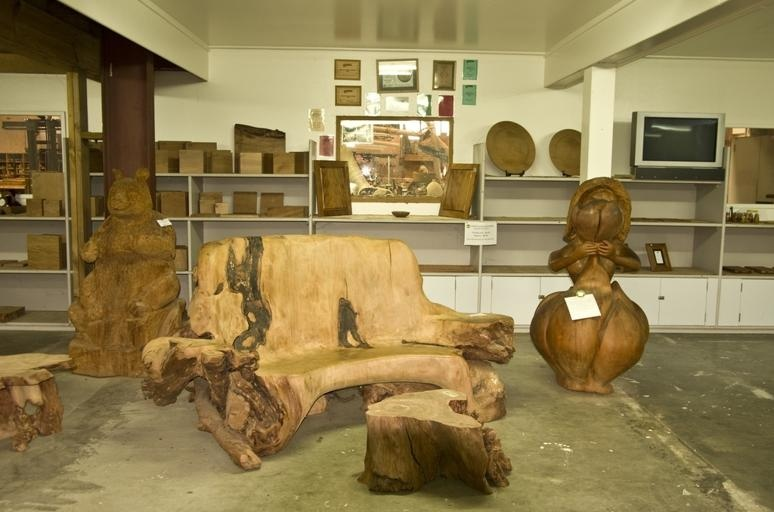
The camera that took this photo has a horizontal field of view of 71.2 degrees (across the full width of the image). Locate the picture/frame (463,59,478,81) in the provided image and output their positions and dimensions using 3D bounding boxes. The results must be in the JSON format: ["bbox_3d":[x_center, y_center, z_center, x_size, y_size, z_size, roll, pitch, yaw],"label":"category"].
[{"bbox_3d":[1.071,-2.415,6.984,0.254,0.333,0.033,1,2,-2],"label":"picture/frame"}]

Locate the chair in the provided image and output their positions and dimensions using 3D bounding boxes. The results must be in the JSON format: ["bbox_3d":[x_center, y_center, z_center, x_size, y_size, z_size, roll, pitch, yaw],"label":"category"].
[{"bbox_3d":[-0.543,0.666,4.433,2.766,1.623,1.012,-2,7,-15],"label":"chair"}]

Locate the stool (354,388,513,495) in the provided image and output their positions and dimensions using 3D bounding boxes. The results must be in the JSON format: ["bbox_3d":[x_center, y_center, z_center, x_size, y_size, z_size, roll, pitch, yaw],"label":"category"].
[{"bbox_3d":[0.314,1.286,3.738,0.798,0.372,0.648,-4,8,-12],"label":"stool"}]

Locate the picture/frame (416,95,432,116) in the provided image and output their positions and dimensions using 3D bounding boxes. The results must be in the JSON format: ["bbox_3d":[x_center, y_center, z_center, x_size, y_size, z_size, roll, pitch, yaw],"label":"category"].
[{"bbox_3d":[0.483,-1.963,7.020,0.276,0.363,0.037,0,3,1],"label":"picture/frame"}]

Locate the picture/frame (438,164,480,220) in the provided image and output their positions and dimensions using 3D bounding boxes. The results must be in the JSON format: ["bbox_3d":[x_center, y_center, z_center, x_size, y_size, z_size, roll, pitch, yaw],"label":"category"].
[{"bbox_3d":[0.912,-0.784,6.711,0.088,0.874,0.661,18,-3,-41],"label":"picture/frame"}]

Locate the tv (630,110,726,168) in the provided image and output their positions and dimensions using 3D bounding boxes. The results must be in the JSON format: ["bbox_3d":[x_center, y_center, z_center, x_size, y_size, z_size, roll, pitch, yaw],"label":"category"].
[{"bbox_3d":[3.587,-1.409,6.775,1.251,0.806,0.661,1,5,1],"label":"tv"}]

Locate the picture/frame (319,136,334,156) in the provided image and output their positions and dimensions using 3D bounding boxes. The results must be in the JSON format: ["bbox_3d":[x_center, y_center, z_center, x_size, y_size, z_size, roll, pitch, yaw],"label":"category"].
[{"bbox_3d":[-0.792,-1.438,7.048,0.262,0.336,0.034,1,3,-3],"label":"picture/frame"}]

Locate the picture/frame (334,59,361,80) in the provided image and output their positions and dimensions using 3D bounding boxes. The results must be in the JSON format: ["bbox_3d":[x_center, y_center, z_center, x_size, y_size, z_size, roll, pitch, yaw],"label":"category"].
[{"bbox_3d":[-0.518,-2.411,6.987,0.278,0.221,0.023,1,14,-6],"label":"picture/frame"}]

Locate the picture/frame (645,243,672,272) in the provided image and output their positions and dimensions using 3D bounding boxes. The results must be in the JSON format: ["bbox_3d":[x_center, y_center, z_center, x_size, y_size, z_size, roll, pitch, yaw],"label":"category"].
[{"bbox_3d":[3.452,0.028,6.915,0.399,0.498,0.039,3,-29,-7],"label":"picture/frame"}]

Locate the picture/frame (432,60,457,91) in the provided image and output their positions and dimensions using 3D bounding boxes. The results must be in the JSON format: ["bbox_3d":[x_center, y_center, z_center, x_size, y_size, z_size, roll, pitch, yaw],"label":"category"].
[{"bbox_3d":[0.737,-2.352,6.993,0.389,0.421,0.043,1,2,-1],"label":"picture/frame"}]

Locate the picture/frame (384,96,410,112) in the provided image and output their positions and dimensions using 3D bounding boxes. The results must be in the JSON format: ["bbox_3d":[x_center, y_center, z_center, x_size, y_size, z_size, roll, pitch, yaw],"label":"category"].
[{"bbox_3d":[0.137,-1.964,7.023,0.314,0.215,0.039,-1,7,-5],"label":"picture/frame"}]

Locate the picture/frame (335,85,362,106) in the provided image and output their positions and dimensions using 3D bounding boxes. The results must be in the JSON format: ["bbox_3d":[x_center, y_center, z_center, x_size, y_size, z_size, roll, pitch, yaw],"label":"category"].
[{"bbox_3d":[-0.506,-2.081,6.997,0.260,0.209,0.019,-1,5,-6],"label":"picture/frame"}]

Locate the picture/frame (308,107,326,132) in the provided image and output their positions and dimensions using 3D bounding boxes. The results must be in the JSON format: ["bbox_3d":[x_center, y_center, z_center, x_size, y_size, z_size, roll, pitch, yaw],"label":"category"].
[{"bbox_3d":[-0.918,-1.785,7.025,0.313,0.405,0.040,0,4,-3],"label":"picture/frame"}]

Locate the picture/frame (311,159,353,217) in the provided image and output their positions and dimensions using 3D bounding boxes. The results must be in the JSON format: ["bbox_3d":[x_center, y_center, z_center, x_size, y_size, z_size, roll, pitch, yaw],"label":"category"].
[{"bbox_3d":[-0.695,-0.813,6.624,0.102,0.896,0.700,-4,2,42],"label":"picture/frame"}]
